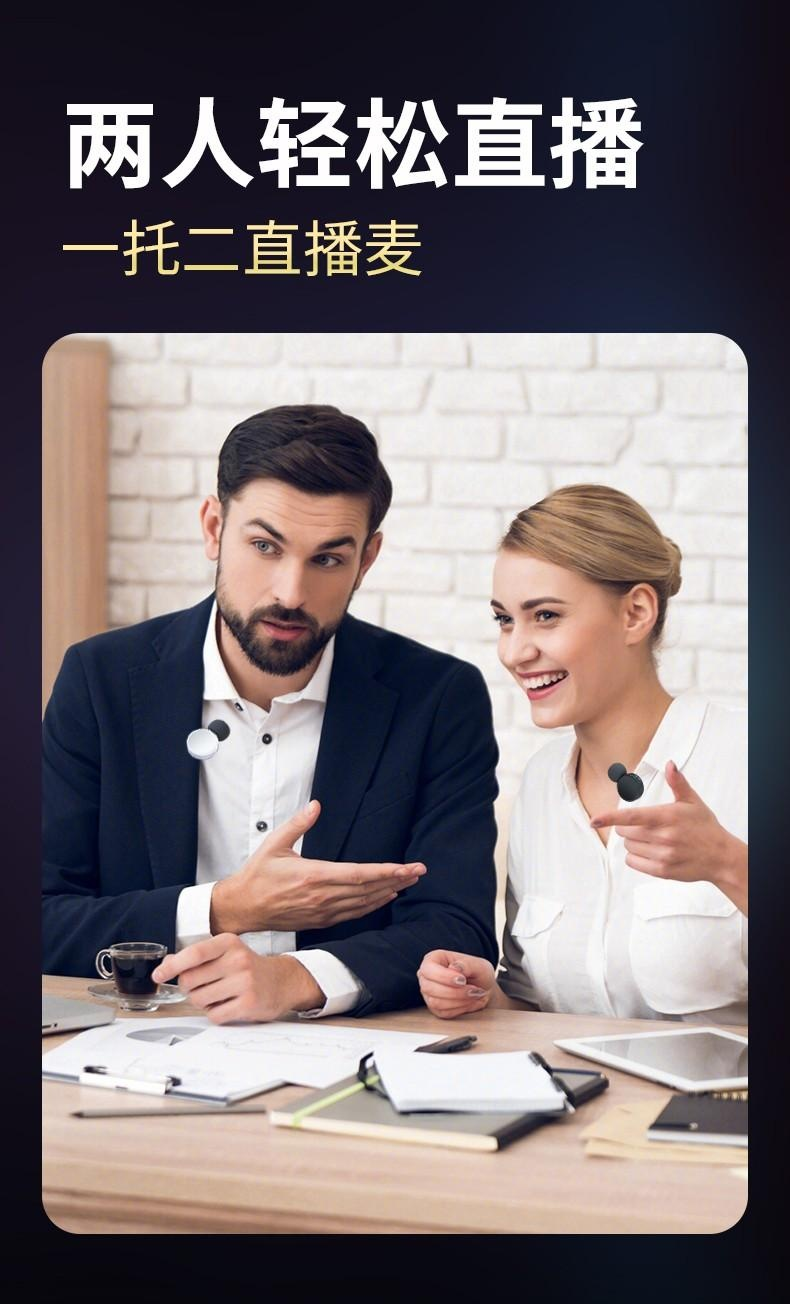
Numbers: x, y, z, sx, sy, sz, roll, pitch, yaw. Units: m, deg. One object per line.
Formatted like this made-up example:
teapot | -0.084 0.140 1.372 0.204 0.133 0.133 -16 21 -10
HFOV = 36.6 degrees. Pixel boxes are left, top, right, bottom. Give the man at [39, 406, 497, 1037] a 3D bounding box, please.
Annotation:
man | -0.155 0.059 1.617 0.626 0.783 0.393 -4 7 -25

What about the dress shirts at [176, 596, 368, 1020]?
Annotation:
dress shirts | -0.170 0.188 1.668 0.287 0.501 0.121 3 -2 -30

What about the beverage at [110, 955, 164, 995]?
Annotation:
beverage | -0.320 0.400 1.472 0.060 0.040 0.049 -6 -6 36

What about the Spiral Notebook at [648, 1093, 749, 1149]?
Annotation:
Spiral Notebook | 0.305 0.461 1.185 0.066 0.016 0.064 -1 -3 12

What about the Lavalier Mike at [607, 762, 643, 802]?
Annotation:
Lavalier Mike | 0.335 0.184 1.739 0.041 0.061 0.019 -39 0 16

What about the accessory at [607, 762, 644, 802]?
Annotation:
accessory | 0.333 0.184 1.729 0.042 0.061 0.014 -40 -2 17

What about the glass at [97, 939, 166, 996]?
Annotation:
glass | -0.330 0.389 1.522 0.091 0.061 0.073 0 -1 25

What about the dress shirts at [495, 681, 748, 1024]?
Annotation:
dress shirts | 0.353 0.324 1.751 0.473 0.467 0.263 -10 -16 31
